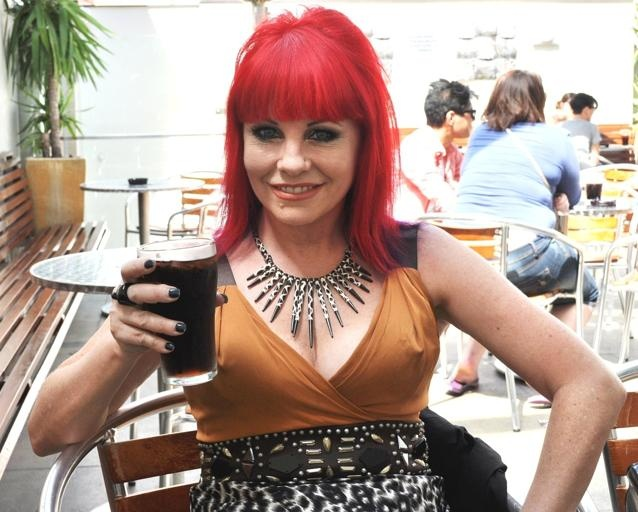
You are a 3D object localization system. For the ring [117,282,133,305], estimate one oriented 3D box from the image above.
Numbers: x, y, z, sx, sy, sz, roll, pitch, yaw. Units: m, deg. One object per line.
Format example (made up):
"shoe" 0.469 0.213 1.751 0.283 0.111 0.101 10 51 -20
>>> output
"ring" -0.344 0.071 1.107 0.031 0.042 0.016 1 9 0

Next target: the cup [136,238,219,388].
"cup" -0.248 0.107 1.115 0.131 0.254 0.074 -2 9 -15

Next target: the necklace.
"necklace" -0.023 0.075 1.393 0.192 0.037 0.246 -2 47 -8
